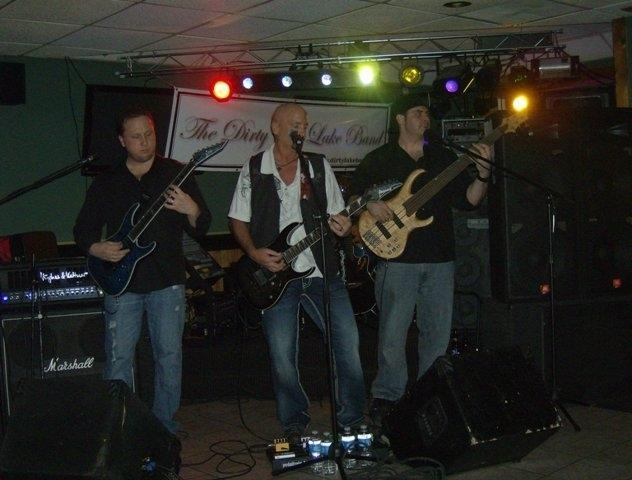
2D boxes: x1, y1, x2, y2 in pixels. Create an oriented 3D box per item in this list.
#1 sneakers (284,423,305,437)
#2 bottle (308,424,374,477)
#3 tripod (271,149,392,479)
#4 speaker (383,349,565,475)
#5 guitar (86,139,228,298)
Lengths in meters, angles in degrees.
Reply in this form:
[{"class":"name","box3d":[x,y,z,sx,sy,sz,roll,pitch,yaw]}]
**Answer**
[{"class":"sneakers","box3d":[-0.137,1.232,3.774,0.116,0.072,0.040,-11,0,-10]},{"class":"bottle","box3d":[0.185,1.297,3.575,0.313,0.096,0.234,-2,8,-15]},{"class":"tripod","box3d":[0.113,0.426,3.494,0.717,1.951,0.924,2,7,10]},{"class":"speaker","box3d":[0.889,1.019,3.429,0.746,0.726,0.838,-37,-32,27]},{"class":"guitar","box3d":[-1.058,-0.126,3.661,0.822,0.944,0.348,-1,7,-11]}]
